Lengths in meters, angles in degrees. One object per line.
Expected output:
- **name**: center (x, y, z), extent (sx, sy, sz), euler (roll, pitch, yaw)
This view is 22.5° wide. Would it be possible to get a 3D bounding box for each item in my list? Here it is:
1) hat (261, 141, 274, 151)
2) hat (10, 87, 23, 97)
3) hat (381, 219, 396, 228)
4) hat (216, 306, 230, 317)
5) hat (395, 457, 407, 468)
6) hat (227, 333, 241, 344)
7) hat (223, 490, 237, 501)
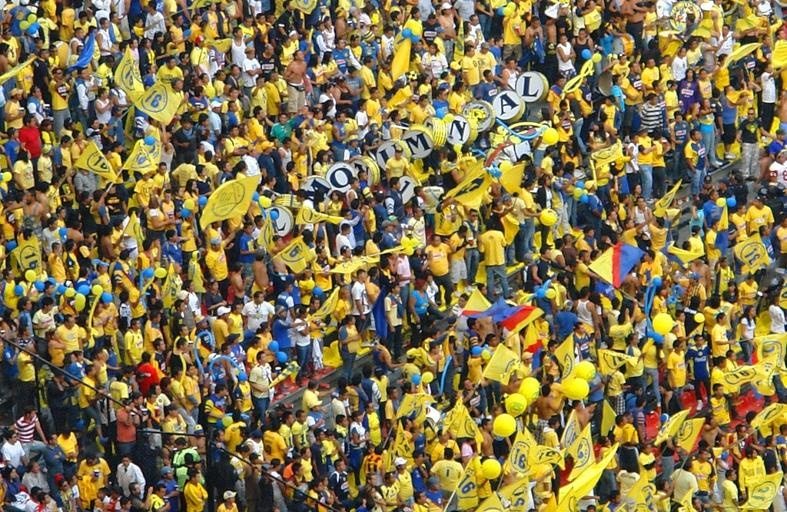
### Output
- **hat**: center (-2.747, -2.435, 44.145), extent (0.261, 0.172, 0.147), euler (-2, -15, 44)
- **hat**: center (-8.069, -3.543, 42.905), extent (0.212, 0.106, 0.172), euler (-4, -8, -20)
- **hat**: center (-0.073, -0.584, 43.086), extent (0.216, 0.203, 0.182), euler (-29, 25, 9)
- **hat**: center (-3.472, 1.224, 41.088), extent (0.245, 0.089, 0.169), euler (-20, 30, -9)
- **hat**: center (0.145, 4.196, 39.539), extent (0.235, 0.175, 0.171), euler (23, 38, 25)
- **hat**: center (-3.241, 1.773, 40.781), extent (0.143, 0.197, 0.201), euler (-15, 47, -25)
- **hat**: center (-3.175, 4.826, 39.004), extent (0.219, 0.125, 0.156), euler (-17, 39, -17)
